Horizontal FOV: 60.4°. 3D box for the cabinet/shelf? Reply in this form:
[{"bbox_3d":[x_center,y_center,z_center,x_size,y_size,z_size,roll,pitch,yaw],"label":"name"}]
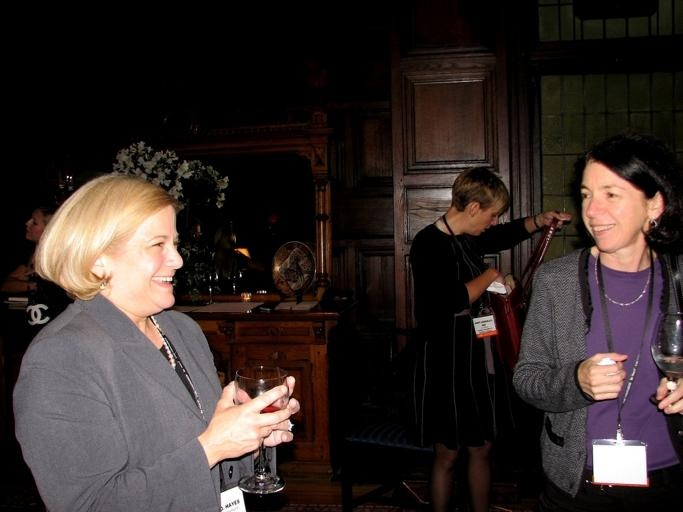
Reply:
[{"bbox_3d":[-0.500,1.044,4.643,1.170,1.634,1.116,-1,-6,3],"label":"cabinet/shelf"}]

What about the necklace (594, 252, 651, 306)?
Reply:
[{"bbox_3d":[1.107,0.071,2.311,0.234,0.154,0.297,4,7,16],"label":"necklace"}]

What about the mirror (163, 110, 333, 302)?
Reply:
[{"bbox_3d":[-0.719,-0.345,4.645,1.588,1.673,0.331,-1,-1,8],"label":"mirror"}]
